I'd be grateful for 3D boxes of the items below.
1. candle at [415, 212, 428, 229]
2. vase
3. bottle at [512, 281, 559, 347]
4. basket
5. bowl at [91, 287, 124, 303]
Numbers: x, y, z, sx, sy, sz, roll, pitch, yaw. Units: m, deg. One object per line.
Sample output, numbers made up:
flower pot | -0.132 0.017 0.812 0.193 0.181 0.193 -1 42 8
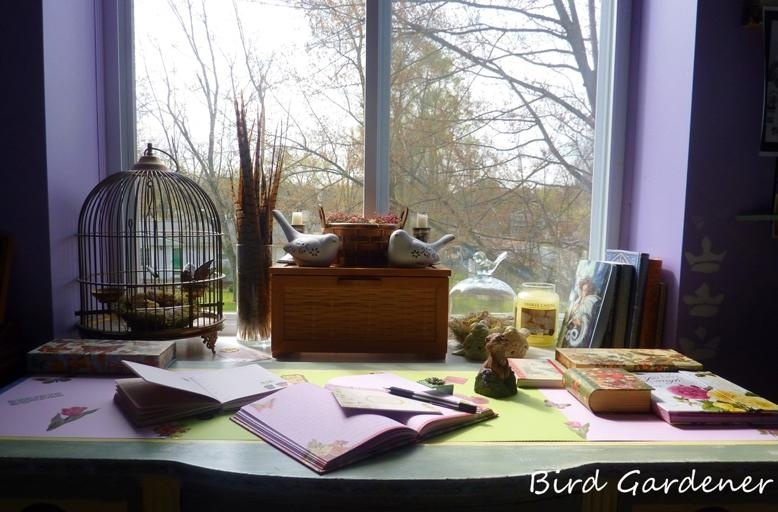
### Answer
candle | 0.123 -0.143 2.262 0.063 0.067 0.062 0 0 19
vase | -0.094 -0.064 2.097 0.260 0.157 0.262 1 -2 -4
bottle | 0.588 0.240 2.404 0.242 0.315 0.238 0 2 0
basket | -0.094 -0.046 2.102 0.257 0.154 0.258 1 -2 -5
bowl | -1.034 0.138 2.069 0.081 0.031 0.079 -3 2 0
